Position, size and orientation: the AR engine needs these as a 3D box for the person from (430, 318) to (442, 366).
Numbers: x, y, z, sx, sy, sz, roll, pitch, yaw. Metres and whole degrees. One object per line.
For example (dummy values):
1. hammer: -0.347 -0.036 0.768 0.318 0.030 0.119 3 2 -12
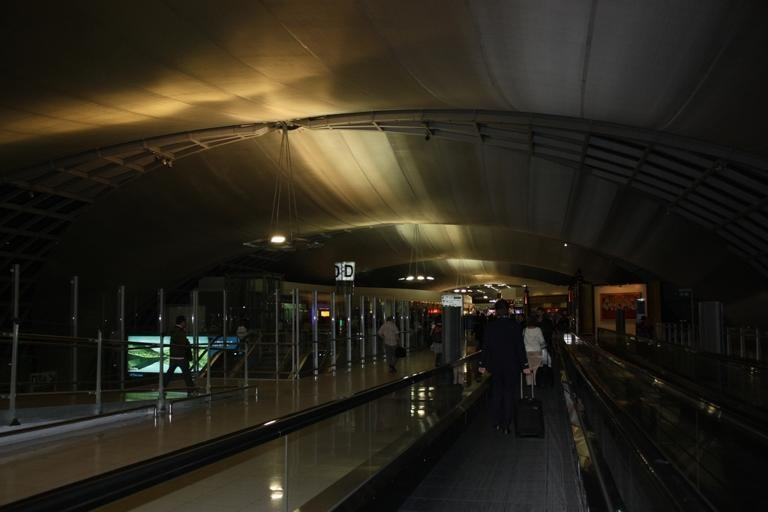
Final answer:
1. person: 2.091 3.315 18.513 0.286 1.741 0.940 -5 -8 -1

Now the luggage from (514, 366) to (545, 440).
1. luggage: 2.200 2.259 7.224 0.472 1.204 0.457 6 -44 7

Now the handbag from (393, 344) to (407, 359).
1. handbag: 0.639 3.823 19.002 0.464 0.513 0.522 -3 -2 10

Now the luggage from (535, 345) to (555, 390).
1. luggage: 4.158 2.800 12.114 0.540 1.076 0.529 36 -40 -28

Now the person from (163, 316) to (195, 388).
1. person: -5.283 2.515 12.185 0.667 1.972 1.173 -2 -8 -23
